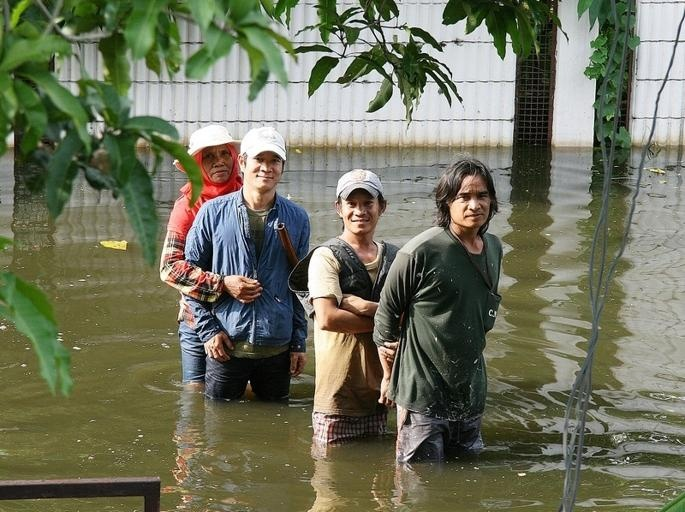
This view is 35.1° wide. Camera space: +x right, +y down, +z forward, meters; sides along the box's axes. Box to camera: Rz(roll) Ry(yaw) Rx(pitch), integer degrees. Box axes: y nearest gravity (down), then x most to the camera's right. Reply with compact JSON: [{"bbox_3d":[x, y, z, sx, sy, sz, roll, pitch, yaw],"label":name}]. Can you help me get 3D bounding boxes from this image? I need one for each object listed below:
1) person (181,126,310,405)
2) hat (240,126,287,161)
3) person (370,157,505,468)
[{"bbox_3d":[-0.643,0.090,7.590,0.718,1.929,0.639,3,4,24],"label":"person"},{"bbox_3d":[-0.537,-0.752,7.309,0.293,0.228,0.321,0,3,-7],"label":"hat"},{"bbox_3d":[0.590,0.355,6.702,0.799,1.892,0.441,1,4,-1],"label":"person"}]
